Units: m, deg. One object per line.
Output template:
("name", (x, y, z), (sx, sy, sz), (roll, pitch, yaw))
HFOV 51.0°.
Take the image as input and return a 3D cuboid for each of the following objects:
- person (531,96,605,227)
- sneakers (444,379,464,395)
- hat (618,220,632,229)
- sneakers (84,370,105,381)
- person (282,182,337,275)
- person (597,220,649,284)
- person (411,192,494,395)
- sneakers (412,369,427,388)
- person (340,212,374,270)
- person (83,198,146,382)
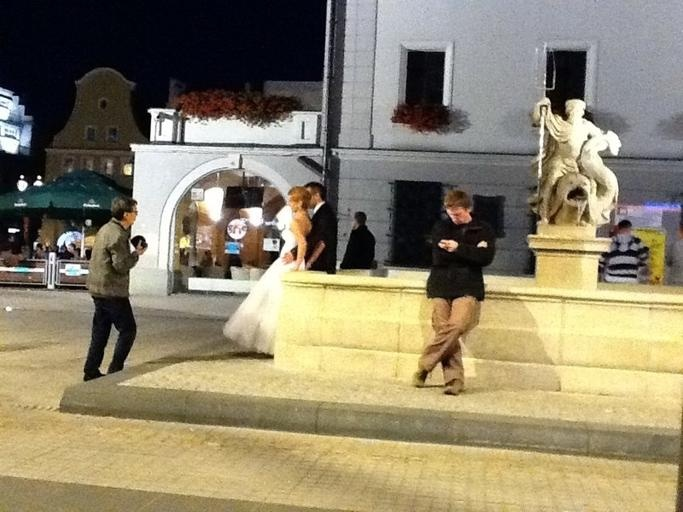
("person", (3.382, -1.464, 11.073), (0.912, 1.893, 0.521), (3, 8, 13))
("sneakers", (1.154, 1.329, 7.295), (0.140, 0.089, 0.186), (-5, 3, -4))
("hat", (4.864, -0.582, 12.240), (0.179, 0.182, 0.233), (-3, -14, 6))
("sneakers", (-2.748, 1.309, 7.895), (0.146, 0.076, 0.200), (0, -1, 6))
("person", (-0.248, -0.340, 8.733), (0.391, 1.103, 0.397), (1, 8, -3))
("person", (4.897, -0.060, 12.442), (0.741, 1.168, 1.608), (4, 8, 20))
("person", (1.178, 0.366, 7.382), (0.703, 2.049, 0.549), (6, 9, 30))
("sneakers", (0.829, 1.275, 7.539), (0.124, 0.204, 0.082), (18, 18, 5))
("person", (0.306, -0.252, 11.873), (0.486, 0.954, 0.540), (2, 8, 0))
("person", (-2.563, 0.335, 7.959), (0.567, 1.971, 0.361), (-1, 8, -20))
